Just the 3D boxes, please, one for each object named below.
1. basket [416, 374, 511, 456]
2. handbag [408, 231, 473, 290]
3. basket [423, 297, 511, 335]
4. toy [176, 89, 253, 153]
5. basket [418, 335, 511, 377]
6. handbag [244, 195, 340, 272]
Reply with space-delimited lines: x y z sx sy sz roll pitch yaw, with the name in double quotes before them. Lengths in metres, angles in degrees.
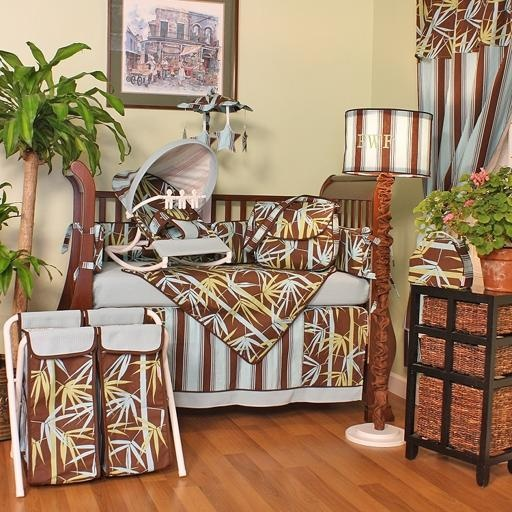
"basket" 0.802 0.549 1.929 0.240 0.247 0.378 3 -2 -38
"handbag" 0.683 0.020 1.883 0.080 0.197 0.257 6 -4 -33
"basket" 0.740 0.208 1.830 0.197 0.065 0.128 2 -1 41
"toy" -0.242 -0.807 3.005 0.427 0.279 0.344 2 0 -2
"basket" 0.747 0.352 1.841 0.198 0.065 0.134 2 1 44
"handbag" 0.190 -0.104 2.643 0.443 0.323 0.220 1 -11 31
